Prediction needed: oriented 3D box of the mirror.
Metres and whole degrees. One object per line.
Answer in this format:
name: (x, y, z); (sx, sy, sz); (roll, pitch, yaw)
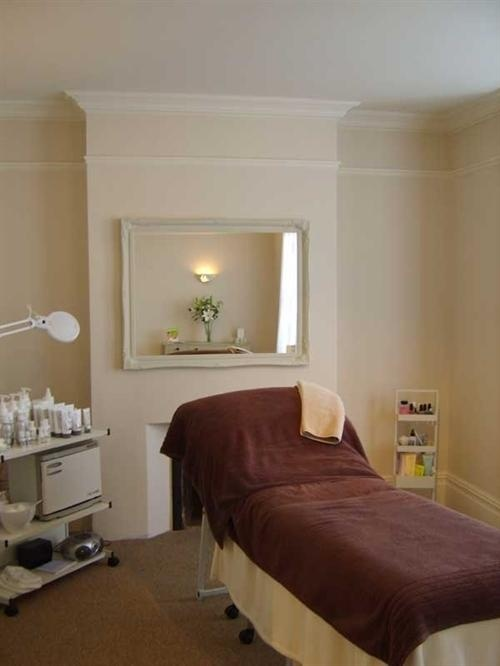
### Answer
mirror: (-0.264, -0.259, 3.446); (0.762, 0.733, 0.044); (0, 1, -7)

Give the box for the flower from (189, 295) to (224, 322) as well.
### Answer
flower: (-0.267, -0.144, 3.451); (0.147, 0.173, 0.074); (-2, 16, -5)
